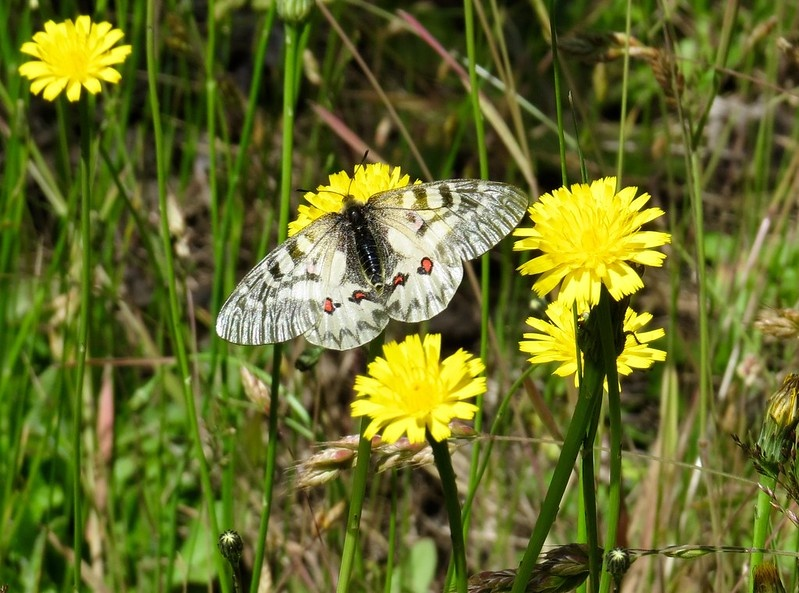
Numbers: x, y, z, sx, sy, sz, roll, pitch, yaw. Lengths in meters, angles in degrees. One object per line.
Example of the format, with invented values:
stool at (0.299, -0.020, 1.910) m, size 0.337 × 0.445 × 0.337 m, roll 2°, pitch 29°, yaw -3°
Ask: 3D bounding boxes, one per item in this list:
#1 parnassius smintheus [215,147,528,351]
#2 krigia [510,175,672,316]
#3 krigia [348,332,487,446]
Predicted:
parnassius smintheus at (-0.107, -0.125, 2.757) m, size 0.850 × 0.636 × 0.248 m, roll -10°, pitch 22°, yaw -5°
krigia at (0.503, -0.085, 2.352) m, size 0.390 × 0.362 × 0.337 m, roll -4°, pitch 29°, yaw 8°
krigia at (0.054, 0.290, 2.377) m, size 0.346 × 0.378 × 0.295 m, roll -6°, pitch 28°, yaw 4°
